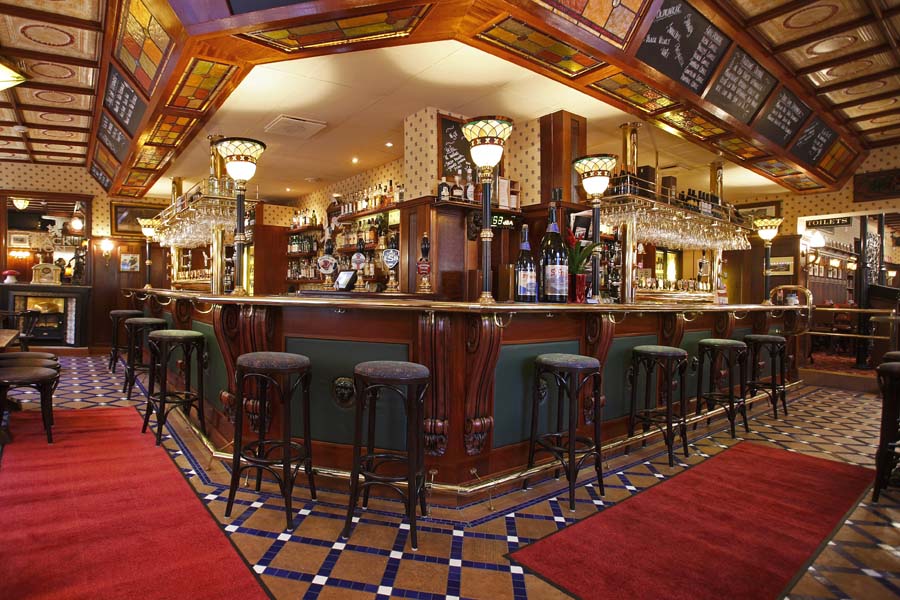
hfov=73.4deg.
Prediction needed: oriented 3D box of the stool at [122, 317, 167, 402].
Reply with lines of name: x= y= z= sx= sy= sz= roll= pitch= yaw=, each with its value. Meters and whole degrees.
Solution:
stool: x=-4.559 y=0.853 z=9.002 sx=0.675 sy=1.013 sz=0.657 roll=4 pitch=-6 yaw=-45

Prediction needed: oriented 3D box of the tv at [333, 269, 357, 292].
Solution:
tv: x=-1.262 y=-0.246 z=7.312 sx=0.305 sy=0.265 sz=0.078 roll=1 pitch=-21 yaw=32

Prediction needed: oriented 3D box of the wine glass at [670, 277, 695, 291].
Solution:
wine glass: x=3.830 y=-0.238 z=9.947 sx=0.290 sy=0.192 sz=0.758 roll=-1 pitch=0 yaw=40

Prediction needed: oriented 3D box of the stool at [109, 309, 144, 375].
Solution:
stool: x=-5.591 y=0.671 z=10.409 sx=0.636 sy=0.889 sz=0.615 roll=0 pitch=0 yaw=17

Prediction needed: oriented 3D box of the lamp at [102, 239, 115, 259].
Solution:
lamp: x=-7.514 y=-1.145 z=13.182 sx=0.288 sy=0.406 sz=0.160 roll=-2 pitch=0 yaw=-27

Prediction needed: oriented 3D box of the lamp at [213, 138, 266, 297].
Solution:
lamp: x=-2.417 y=-0.982 z=6.938 sx=0.504 sy=1.749 sz=0.527 roll=-2 pitch=0 yaw=-26

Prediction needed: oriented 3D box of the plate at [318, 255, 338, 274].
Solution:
plate: x=-1.459 y=-0.425 z=7.245 sx=0.241 sy=0.228 sz=0.231 roll=2 pitch=2 yaw=-25

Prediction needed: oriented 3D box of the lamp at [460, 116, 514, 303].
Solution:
lamp: x=0.330 y=-0.928 z=6.068 sx=0.456 sy=1.891 sz=0.513 roll=-2 pitch=0 yaw=45

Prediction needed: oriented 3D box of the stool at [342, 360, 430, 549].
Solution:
stool: x=-0.601 y=1.398 z=5.709 sx=0.841 sy=1.678 sz=0.736 roll=-2 pitch=0 yaw=-1

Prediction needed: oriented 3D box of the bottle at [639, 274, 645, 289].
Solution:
bottle: x=2.988 y=-0.285 z=9.349 sx=0.106 sy=0.182 sz=0.219 roll=-2 pitch=0 yaw=25

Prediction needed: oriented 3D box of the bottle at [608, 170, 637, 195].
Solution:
bottle: x=2.315 y=-1.526 z=8.039 sx=0.411 sy=0.357 sz=0.388 roll=-1 pitch=7 yaw=-18
